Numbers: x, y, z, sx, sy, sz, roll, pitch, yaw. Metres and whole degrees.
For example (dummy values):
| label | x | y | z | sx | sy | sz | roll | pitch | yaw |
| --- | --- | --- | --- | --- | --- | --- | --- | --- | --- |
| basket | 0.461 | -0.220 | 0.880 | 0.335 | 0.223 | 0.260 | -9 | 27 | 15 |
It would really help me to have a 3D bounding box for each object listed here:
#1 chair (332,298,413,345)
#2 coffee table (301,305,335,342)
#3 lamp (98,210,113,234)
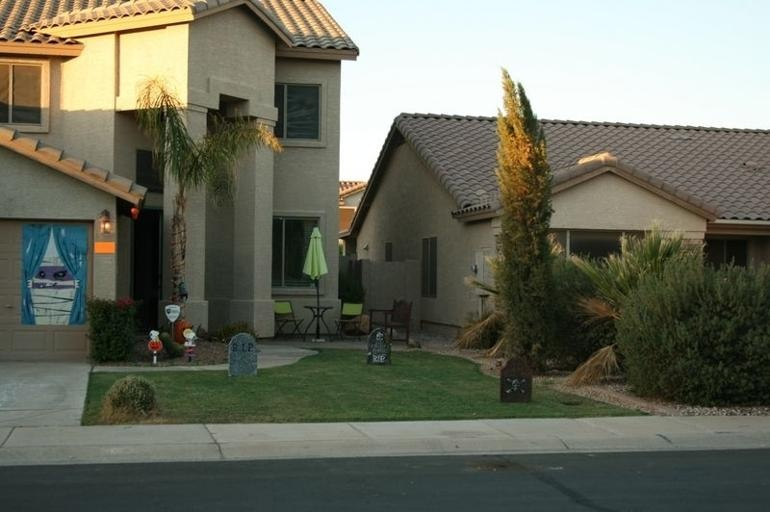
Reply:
| label | x | y | z | sx | sy | sz | roll | pitch | yaw |
| --- | --- | --- | --- | --- | --- | --- | --- | --- | --- |
| chair | -0.381 | 2.142 | 24.448 | 2.258 | 1.317 | 1.232 | 0 | 0 | -1 |
| coffee table | -2.157 | 2.139 | 24.415 | 0.977 | 1.070 | 1.038 | -2 | -4 | 35 |
| lamp | -6.754 | -0.848 | 18.412 | 0.335 | 0.587 | 0.141 | 2 | -3 | -19 |
